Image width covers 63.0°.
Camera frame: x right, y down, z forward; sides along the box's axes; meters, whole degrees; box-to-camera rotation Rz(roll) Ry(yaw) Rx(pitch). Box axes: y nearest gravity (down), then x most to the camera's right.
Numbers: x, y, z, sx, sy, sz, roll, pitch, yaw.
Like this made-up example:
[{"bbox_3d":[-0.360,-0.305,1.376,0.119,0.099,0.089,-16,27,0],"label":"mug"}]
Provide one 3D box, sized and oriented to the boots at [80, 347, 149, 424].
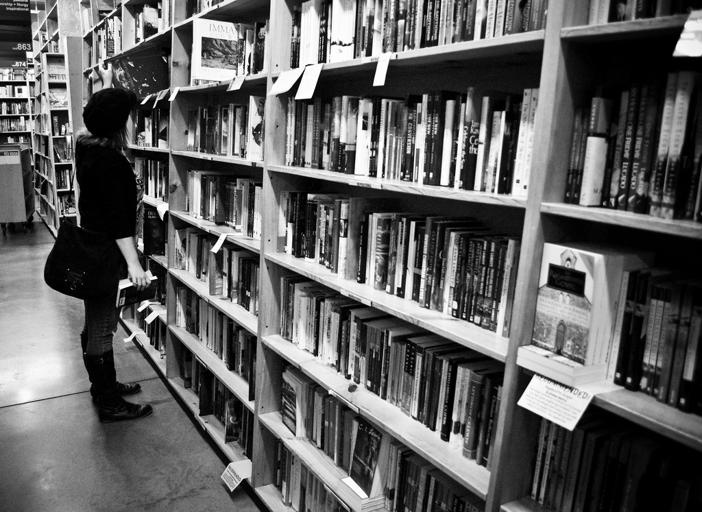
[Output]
[{"bbox_3d":[-1.580,0.817,3.839,0.402,0.540,0.523,-7,11,-25],"label":"boots"}]
